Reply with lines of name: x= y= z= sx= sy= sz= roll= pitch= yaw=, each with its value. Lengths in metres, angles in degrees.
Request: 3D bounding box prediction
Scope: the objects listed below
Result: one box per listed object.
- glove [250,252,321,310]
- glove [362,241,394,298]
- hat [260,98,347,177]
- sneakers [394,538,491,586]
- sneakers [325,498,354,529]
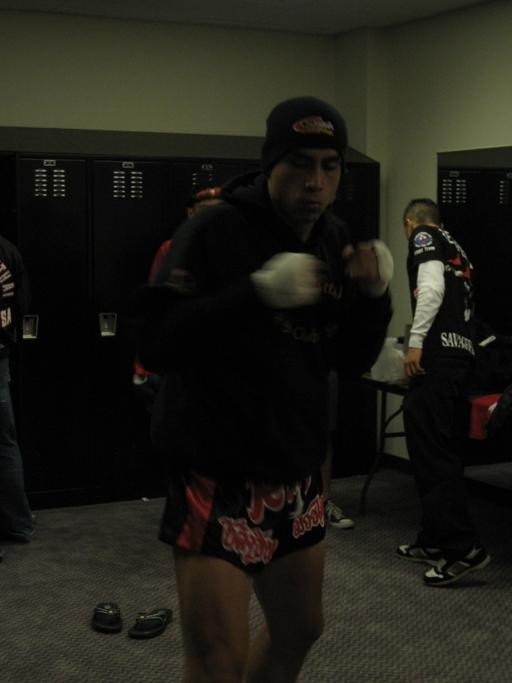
glove: x=0.035 y=-0.067 z=0.622 sx=0.081 sy=0.058 sz=0.039 roll=0 pitch=0 yaw=-10
glove: x=0.159 y=-0.090 z=0.740 sx=0.053 sy=0.071 sz=0.041 roll=-7 pitch=-1 yaw=34
hat: x=0.060 y=-0.269 z=0.729 sx=0.097 sy=0.092 sz=0.113 roll=1 pitch=13 yaw=0
sneakers: x=0.870 y=0.968 z=2.534 sx=0.442 sy=0.192 sz=0.152 roll=-7 pitch=10 yaw=-9
sneakers: x=0.462 y=0.980 z=3.195 sx=0.083 sy=0.094 sz=0.214 roll=-1 pitch=1 yaw=-22
